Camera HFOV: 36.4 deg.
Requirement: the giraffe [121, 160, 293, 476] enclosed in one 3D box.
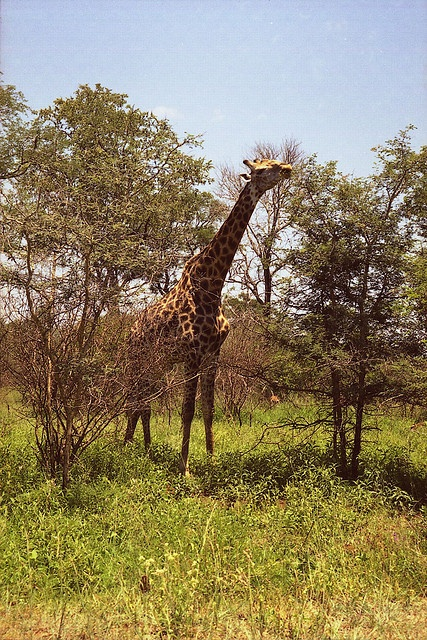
[{"bbox_3d":[-0.257,-0.078,8.966,1.714,4.328,2.404,3,3,-20],"label":"giraffe"}]
